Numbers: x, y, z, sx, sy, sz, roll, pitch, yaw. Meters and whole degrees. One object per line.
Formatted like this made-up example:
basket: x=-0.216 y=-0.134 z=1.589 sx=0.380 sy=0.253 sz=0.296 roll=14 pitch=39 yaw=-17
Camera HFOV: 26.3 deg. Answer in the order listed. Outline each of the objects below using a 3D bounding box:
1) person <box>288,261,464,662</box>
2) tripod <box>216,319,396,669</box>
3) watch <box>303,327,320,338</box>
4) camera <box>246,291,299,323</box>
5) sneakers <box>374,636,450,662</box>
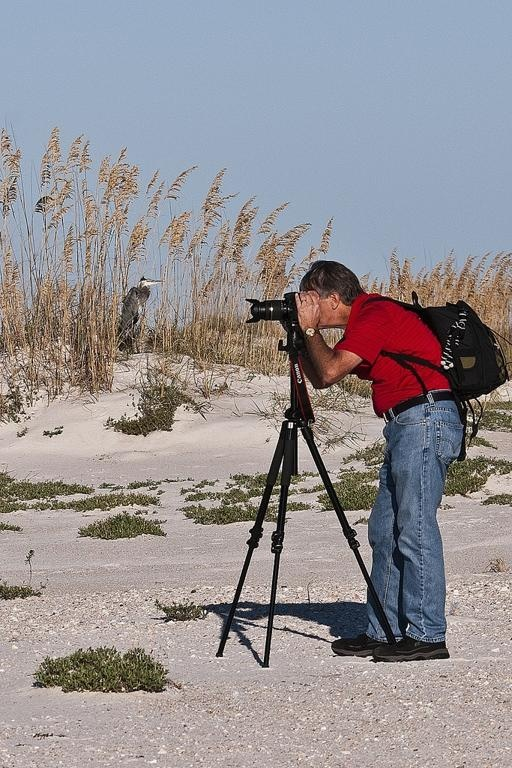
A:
person: x=0.651 y=0.366 z=5.874 sx=0.919 sy=2.125 sz=0.817 roll=-2 pitch=-8 yaw=10
tripod: x=0.354 y=0.569 z=6.374 sx=1.133 sy=1.900 sz=0.992 roll=0 pitch=7 yaw=-18
watch: x=0.279 y=-0.270 z=5.627 sx=0.050 sy=0.028 sz=0.053 roll=-2 pitch=31 yaw=8
camera: x=0.087 y=-0.402 z=5.717 sx=0.244 sy=0.155 sz=0.422 roll=-1 pitch=5 yaw=2
sneakers: x=0.823 y=1.409 z=5.870 sx=0.423 sy=0.195 sz=0.153 roll=1 pitch=-12 yaw=8
